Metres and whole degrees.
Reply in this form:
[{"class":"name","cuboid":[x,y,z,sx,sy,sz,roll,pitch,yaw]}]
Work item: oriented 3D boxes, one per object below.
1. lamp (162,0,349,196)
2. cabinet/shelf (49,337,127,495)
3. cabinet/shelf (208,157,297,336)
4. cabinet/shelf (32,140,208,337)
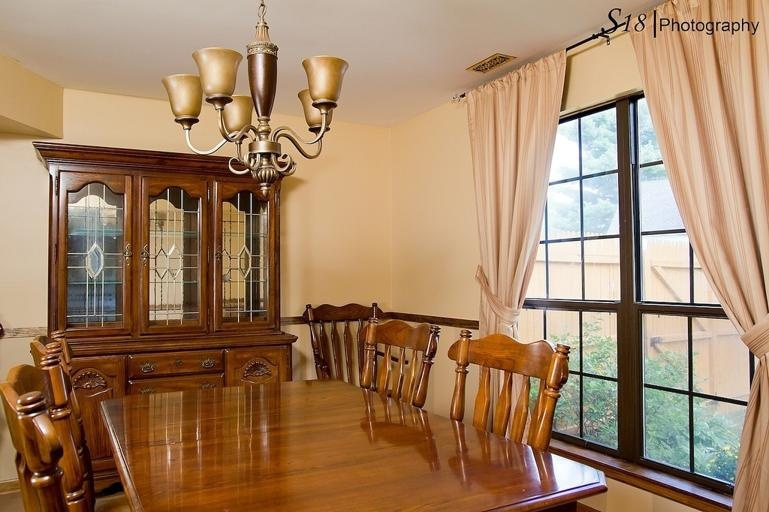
[{"class":"lamp","cuboid":[-0.905,-1.065,3.432,1.135,1.313,1.142,4,-8,-36]},{"class":"cabinet/shelf","cuboid":[-2.088,1.175,4.029,0.646,0.925,0.662,-11,-11,-35]},{"class":"cabinet/shelf","cuboid":[-1.173,-0.020,4.371,0.591,1.341,0.256,1,-7,-23]},{"class":"cabinet/shelf","cuboid":[-1.997,-0.102,4.035,1.506,1.791,0.467,2,-6,-27]}]
